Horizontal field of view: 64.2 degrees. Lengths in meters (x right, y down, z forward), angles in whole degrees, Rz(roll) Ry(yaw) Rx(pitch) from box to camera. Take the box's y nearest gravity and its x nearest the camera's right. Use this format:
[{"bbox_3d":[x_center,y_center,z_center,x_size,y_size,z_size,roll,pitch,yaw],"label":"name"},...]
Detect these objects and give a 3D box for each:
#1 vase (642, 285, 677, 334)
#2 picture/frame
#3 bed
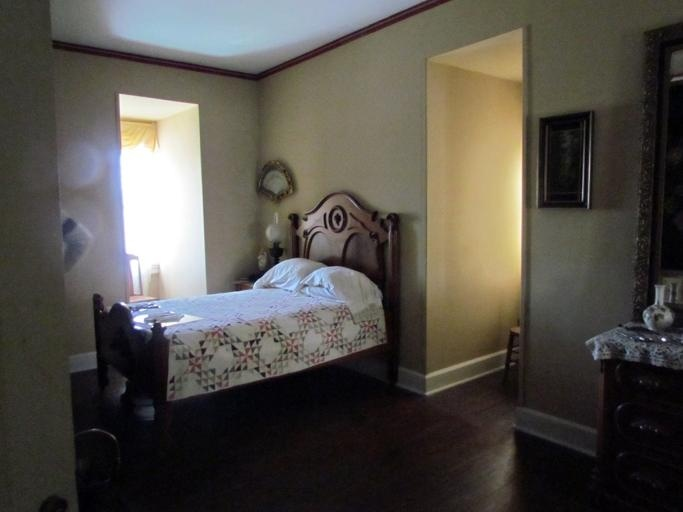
[{"bbox_3d":[1.785,0.284,3.045,0.146,0.240,0.242,7,12,35],"label":"vase"},{"bbox_3d":[1.425,-0.604,3.478,0.316,0.594,0.043,4,11,32],"label":"picture/frame"},{"bbox_3d":[-0.660,0.350,4.350,2.226,1.622,1.208,-8,13,-38],"label":"bed"}]
